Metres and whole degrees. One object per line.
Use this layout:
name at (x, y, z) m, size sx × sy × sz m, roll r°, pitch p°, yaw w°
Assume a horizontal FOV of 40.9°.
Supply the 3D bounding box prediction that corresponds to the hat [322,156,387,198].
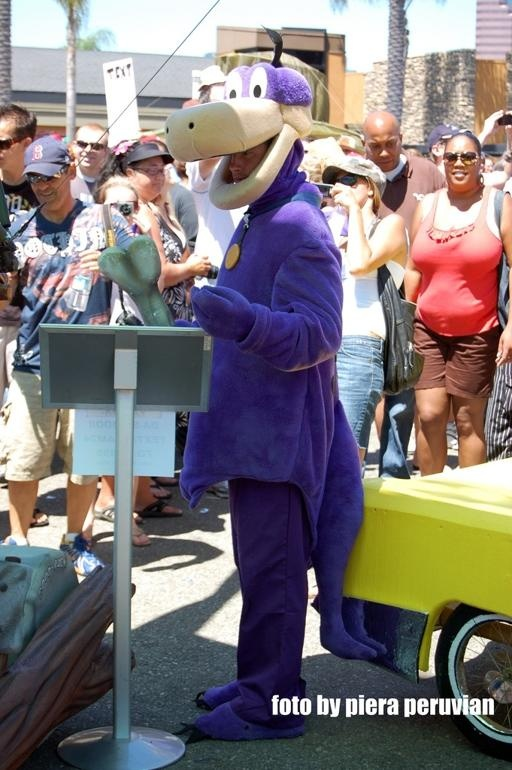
hat at (0.529, -1.087, 3.538) m, size 0.275 × 0.127 × 0.192 m, roll 21°, pitch -6°, yaw -34°

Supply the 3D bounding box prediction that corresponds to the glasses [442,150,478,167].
glasses at (1.126, -1.253, 3.786) m, size 0.170 × 0.084 × 0.047 m, roll 2°, pitch -2°, yaw 20°

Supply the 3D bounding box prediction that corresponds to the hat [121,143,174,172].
hat at (-0.670, -1.368, 4.122) m, size 0.253 × 0.132 × 0.354 m, roll -12°, pitch 10°, yaw -38°

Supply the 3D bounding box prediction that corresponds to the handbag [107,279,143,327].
handbag at (-0.659, -0.402, 3.496) m, size 0.219 × 0.142 × 0.153 m, roll 4°, pitch -2°, yaw -30°

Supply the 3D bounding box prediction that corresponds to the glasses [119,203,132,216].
glasses at (-0.644, -0.867, 3.382) m, size 0.046 × 0.054 × 0.049 m, roll -3°, pitch 36°, yaw 6°

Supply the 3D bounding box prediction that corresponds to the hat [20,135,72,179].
hat at (-0.945, -1.034, 3.089) m, size 0.176 × 0.141 × 0.252 m, roll -2°, pitch 18°, yaw 8°

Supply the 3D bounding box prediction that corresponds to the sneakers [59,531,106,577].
sneakers at (-0.839, 0.805, 3.278) m, size 0.185 × 0.142 × 0.322 m, roll 3°, pitch -2°, yaw -15°

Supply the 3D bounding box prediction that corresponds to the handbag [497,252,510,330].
handbag at (1.368, -0.524, 3.792) m, size 0.058 × 0.407 × 0.171 m, roll 3°, pitch -2°, yaw 18°
